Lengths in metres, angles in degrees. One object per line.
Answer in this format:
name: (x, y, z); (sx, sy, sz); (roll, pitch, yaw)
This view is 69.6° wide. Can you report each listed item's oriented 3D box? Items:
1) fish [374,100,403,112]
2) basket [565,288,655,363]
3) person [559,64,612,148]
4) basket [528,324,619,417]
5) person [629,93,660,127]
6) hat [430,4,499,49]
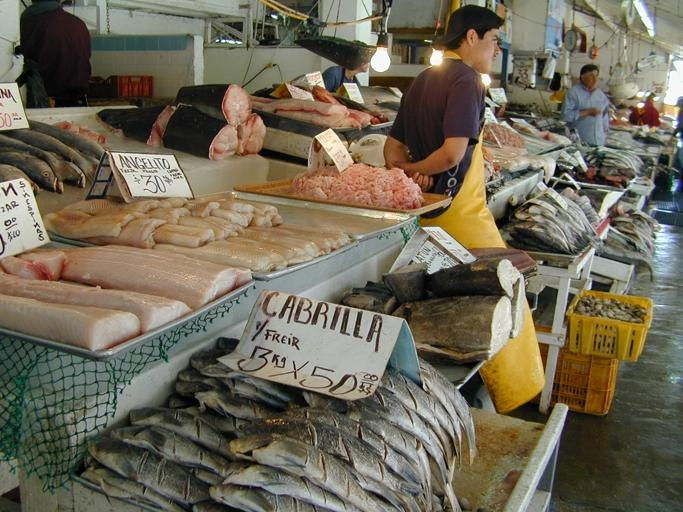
fish: (0.506, -1.613, 5.296); (0.475, 0.097, 0.381); (6, 15, 13)
basket: (2.204, 0.523, 4.086); (0.649, 0.245, 0.783); (7, 20, 22)
person: (4.541, -2.727, 8.937); (1.088, 1.386, 0.531); (-3, 21, -33)
basket: (1.925, 0.982, 4.188); (0.837, 0.409, 0.762); (7, 12, 25)
person: (10.595, -5.054, 17.018); (0.900, 1.181, 1.116); (14, 18, 20)
hat: (0.767, -1.440, 3.109); (0.418, 0.176, 0.249); (-2, 22, 8)
